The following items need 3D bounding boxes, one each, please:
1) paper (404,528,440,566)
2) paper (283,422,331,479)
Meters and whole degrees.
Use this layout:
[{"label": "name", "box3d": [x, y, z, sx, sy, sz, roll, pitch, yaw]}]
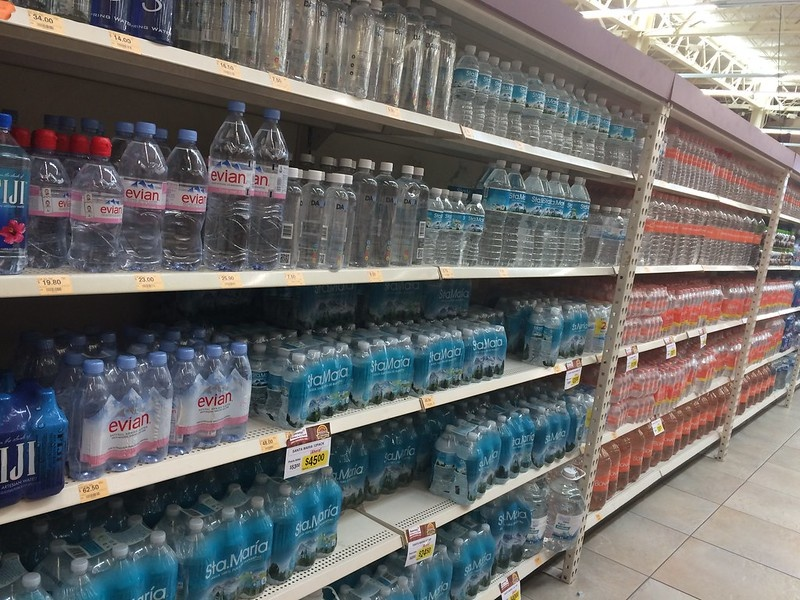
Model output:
[{"label": "paper", "box3d": [0.089, 1.082, 2.519, 0.022, 0.187, 0.206, 7, 11, 44]}, {"label": "paper", "box3d": [-0.344, 0.538, 2.089, 0.228, 0.194, 0.033, -9, 16, -44]}]
